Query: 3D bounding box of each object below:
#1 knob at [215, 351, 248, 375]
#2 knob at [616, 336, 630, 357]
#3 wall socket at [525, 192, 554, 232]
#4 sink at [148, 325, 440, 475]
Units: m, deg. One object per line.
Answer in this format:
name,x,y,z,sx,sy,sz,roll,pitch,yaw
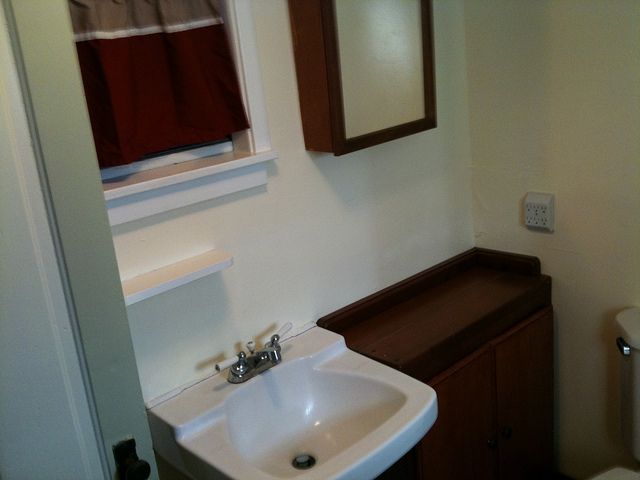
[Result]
knob,-0.251,0.352,1.441,0.046,0.061,0.090,9,17,31
knob,1.024,0.357,1.724,0.026,0.036,0.095,-11,21,14
wall socket,0.850,-0.094,2.000,0.102,0.155,0.053,2,-21,24
sink,-0.016,0.471,1.391,0.523,0.218,0.454,-26,28,-37
